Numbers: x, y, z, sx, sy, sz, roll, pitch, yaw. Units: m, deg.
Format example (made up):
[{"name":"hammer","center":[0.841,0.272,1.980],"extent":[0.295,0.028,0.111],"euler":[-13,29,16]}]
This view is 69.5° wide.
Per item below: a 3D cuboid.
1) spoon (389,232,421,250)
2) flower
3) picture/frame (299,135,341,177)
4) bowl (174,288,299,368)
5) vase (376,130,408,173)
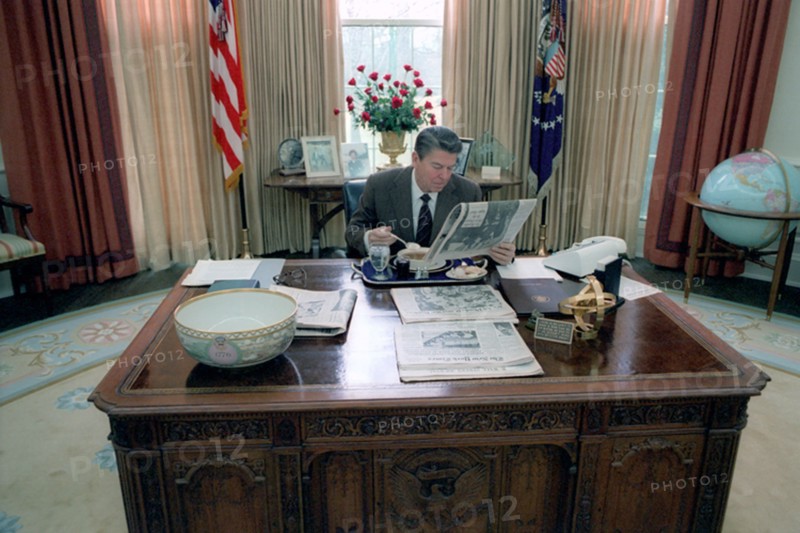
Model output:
[{"name":"spoon","center":[0.019,-0.161,3.477],"extent":[0.047,0.066,0.323],"euler":[-10,17,-24]},{"name":"flower","center":[-0.055,-1.567,5.348],"extent":[0.918,0.565,0.967],"euler":[-3,21,-3]},{"name":"picture/frame","center":[-0.733,-1.016,5.304],"extent":[0.347,0.411,0.016],"euler":[-10,-1,-26]},{"name":"bowl","center":[-0.743,0.256,2.596],"extent":[0.403,0.182,0.424],"euler":[2,14,0]},{"name":"vase","center":[-0.066,-1.053,5.242],"extent":[0.346,0.424,0.333],"euler":[0,13,-2]}]
